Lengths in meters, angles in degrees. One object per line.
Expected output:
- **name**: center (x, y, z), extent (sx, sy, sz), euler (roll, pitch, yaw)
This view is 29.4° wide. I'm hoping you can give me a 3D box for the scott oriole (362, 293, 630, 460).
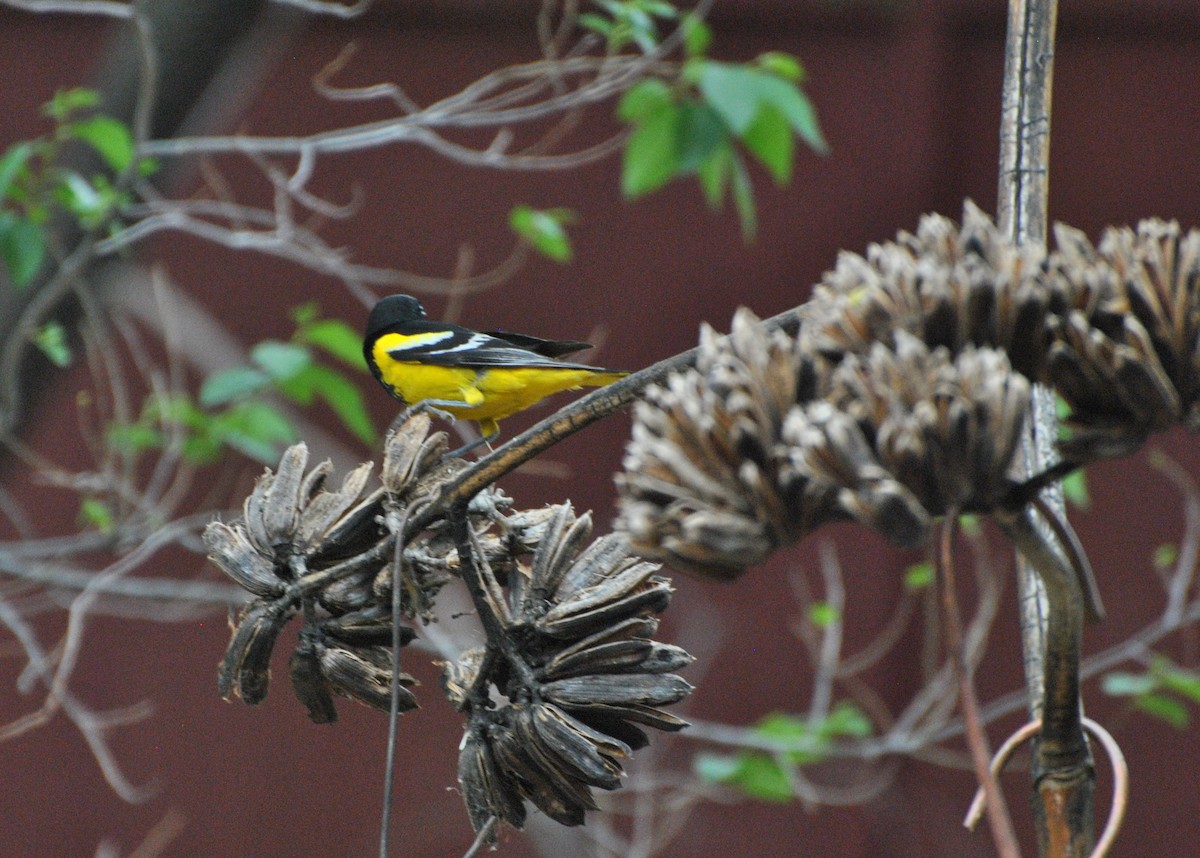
- **scott oriole**: center (-0.270, -0.151, 5.386), extent (0.624, 0.346, 0.235), euler (-1, -20, 12)
